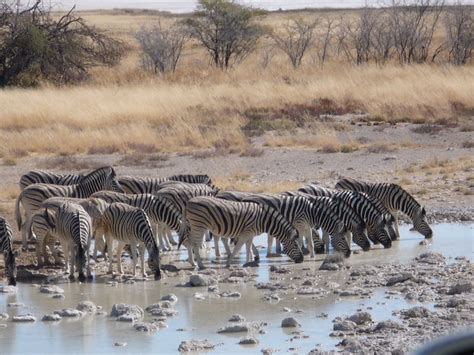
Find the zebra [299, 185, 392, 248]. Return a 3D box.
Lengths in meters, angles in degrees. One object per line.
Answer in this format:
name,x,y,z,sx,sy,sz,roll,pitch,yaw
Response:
zebra,3.289,1.547,30.352,3.743,1.919,0.936,6,18,37

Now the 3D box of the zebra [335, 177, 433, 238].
zebra,4.717,0.961,30.789,3.659,2.079,0.789,18,36,34

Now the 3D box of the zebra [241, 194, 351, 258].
zebra,1.763,1.648,29.129,3.453,2.007,0.858,2,3,13

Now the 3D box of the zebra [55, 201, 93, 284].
zebra,-4.736,1.858,27.441,0.952,2.343,0.659,-7,-7,29
